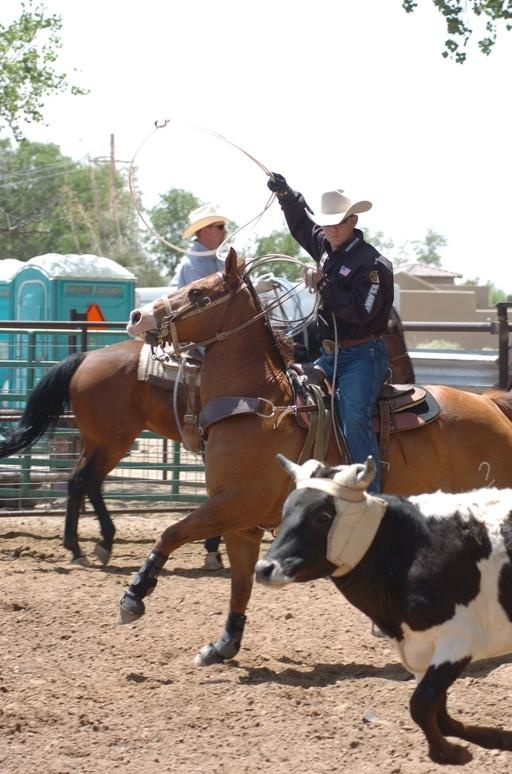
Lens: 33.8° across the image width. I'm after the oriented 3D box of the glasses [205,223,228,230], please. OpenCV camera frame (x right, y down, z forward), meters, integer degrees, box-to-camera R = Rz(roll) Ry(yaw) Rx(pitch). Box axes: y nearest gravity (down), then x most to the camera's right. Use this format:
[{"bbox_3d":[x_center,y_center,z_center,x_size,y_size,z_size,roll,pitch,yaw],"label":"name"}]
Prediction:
[{"bbox_3d":[-0.297,-1.198,6.251,0.150,0.037,0.135,-5,-2,16],"label":"glasses"}]
